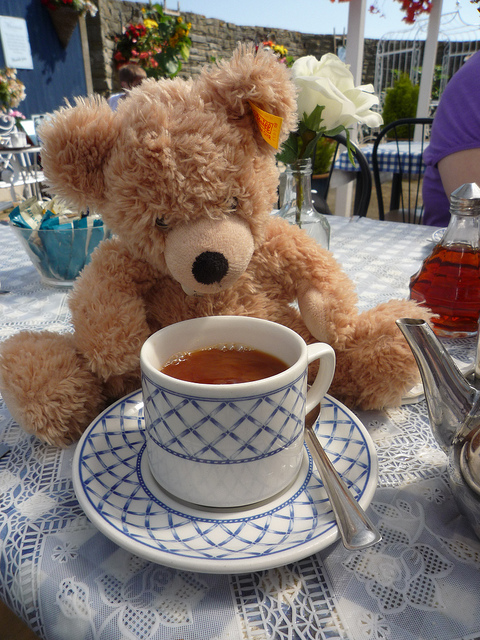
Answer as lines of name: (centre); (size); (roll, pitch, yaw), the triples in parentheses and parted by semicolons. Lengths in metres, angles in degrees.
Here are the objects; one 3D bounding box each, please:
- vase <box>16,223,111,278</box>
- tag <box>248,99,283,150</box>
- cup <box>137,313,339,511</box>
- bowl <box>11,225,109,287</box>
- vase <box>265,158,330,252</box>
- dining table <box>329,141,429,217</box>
vase: (-0.246, -0.092, 0.733); (0.155, 0.069, 0.139); (-2, 2, 11)
tag: (0.016, -0.141, 0.370); (0.033, 0.022, 0.005); (11, -2, -44)
cup: (0.002, 0.062, 0.368); (0.145, 0.088, 0.097); (-4, 24, -14)
bowl: (-0.255, -0.093, 0.738); (0.147, 0.069, 0.144); (2, 2, 0)
vase: (0.080, -0.158, 0.742); (0.105, 0.150, 0.096); (-2, 26, -2)
dining table: (0.762, -0.801, 2.873); (0.430, 0.290, 0.443); (8, 19, 26)
